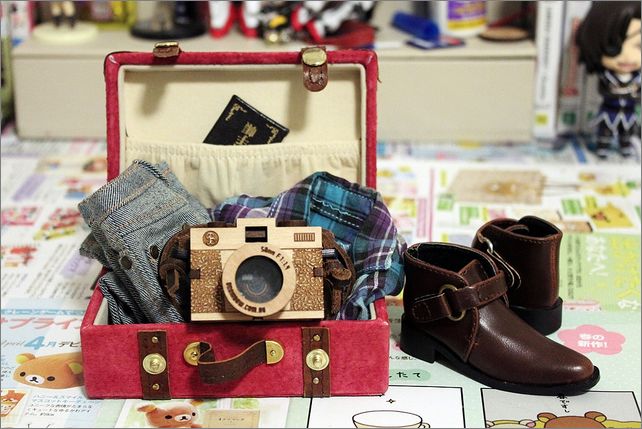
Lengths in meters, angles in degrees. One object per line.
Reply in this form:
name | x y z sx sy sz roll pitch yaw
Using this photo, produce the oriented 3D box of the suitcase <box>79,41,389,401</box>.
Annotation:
suitcase | -0.232 0.003 1.467 0.773 0.741 0.632 -2 28 4
